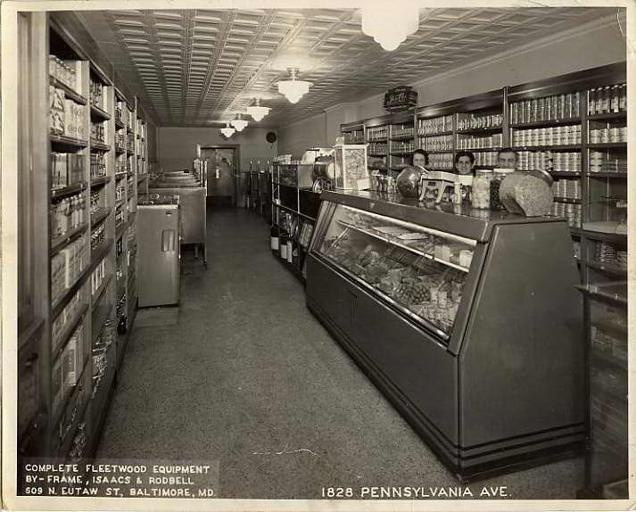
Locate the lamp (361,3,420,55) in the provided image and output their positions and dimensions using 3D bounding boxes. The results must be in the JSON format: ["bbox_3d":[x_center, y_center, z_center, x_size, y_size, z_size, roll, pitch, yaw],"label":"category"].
[{"bbox_3d":[0.467,-1.508,2.969,0.330,0.196,0.588,5,13,21],"label":"lamp"}]

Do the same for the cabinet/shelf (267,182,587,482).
[{"bbox_3d":[0.716,0.329,3.238,0.801,1.371,2.224,-6,13,-28],"label":"cabinet/shelf"}]
